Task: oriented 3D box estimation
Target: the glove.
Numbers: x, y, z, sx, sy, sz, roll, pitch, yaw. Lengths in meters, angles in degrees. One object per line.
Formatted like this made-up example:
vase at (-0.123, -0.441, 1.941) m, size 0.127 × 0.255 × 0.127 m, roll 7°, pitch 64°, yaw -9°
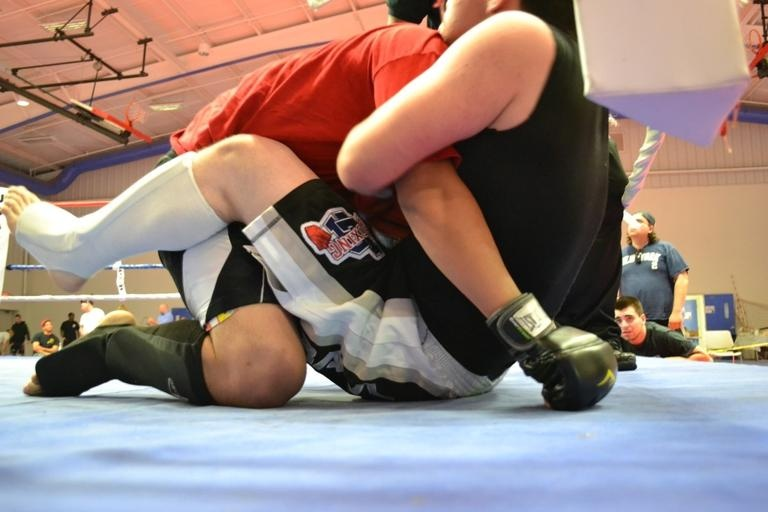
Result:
glove at (0.313, 0.192, 1.059) m, size 0.194 × 0.252 × 0.124 m, roll -40°, pitch -10°, yaw -19°

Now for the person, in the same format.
person at (-0.012, 0.065, 1.559) m, size 1.351 × 1.308 × 0.714 m, roll 4°, pitch -15°, yaw 16°
